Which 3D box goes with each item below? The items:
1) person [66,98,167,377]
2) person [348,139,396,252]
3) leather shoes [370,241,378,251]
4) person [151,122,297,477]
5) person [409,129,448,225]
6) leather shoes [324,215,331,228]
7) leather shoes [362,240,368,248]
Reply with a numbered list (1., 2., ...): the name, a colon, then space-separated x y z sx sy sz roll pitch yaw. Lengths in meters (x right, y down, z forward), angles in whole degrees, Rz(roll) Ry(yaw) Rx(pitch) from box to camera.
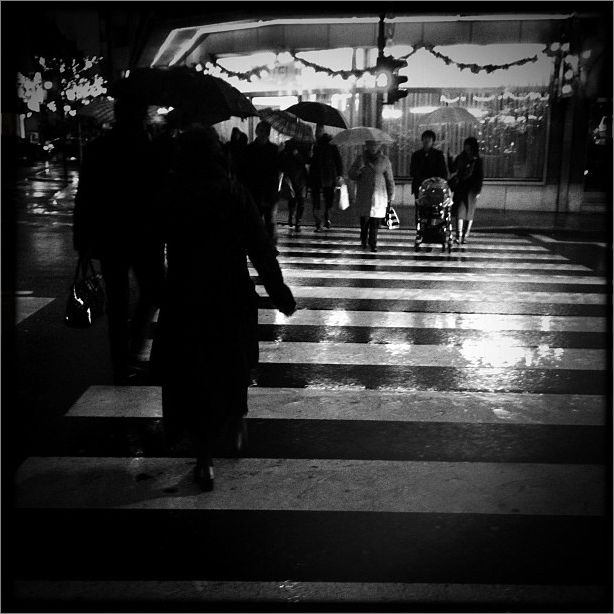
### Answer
1. person: -1.514 -0.522 5.436 0.769 2.314 0.612 0 11 1
2. person: 1.298 -2.211 13.190 0.872 2.198 0.950 1 11 5
3. leather shoes: 1.377 -1.247 13.484 0.166 0.280 0.161 0 10 -2
4. person: -0.476 0.026 3.536 0.700 1.931 0.321 -2 11 -8
5. person: 2.622 -3.104 14.141 0.901 1.345 0.501 7 13 34
6. leather shoes: 0.564 -2.290 17.604 0.109 0.359 0.240 -2 16 3
7. leather shoes: 1.234 -1.336 13.944 0.139 0.218 0.123 -1 5 14
